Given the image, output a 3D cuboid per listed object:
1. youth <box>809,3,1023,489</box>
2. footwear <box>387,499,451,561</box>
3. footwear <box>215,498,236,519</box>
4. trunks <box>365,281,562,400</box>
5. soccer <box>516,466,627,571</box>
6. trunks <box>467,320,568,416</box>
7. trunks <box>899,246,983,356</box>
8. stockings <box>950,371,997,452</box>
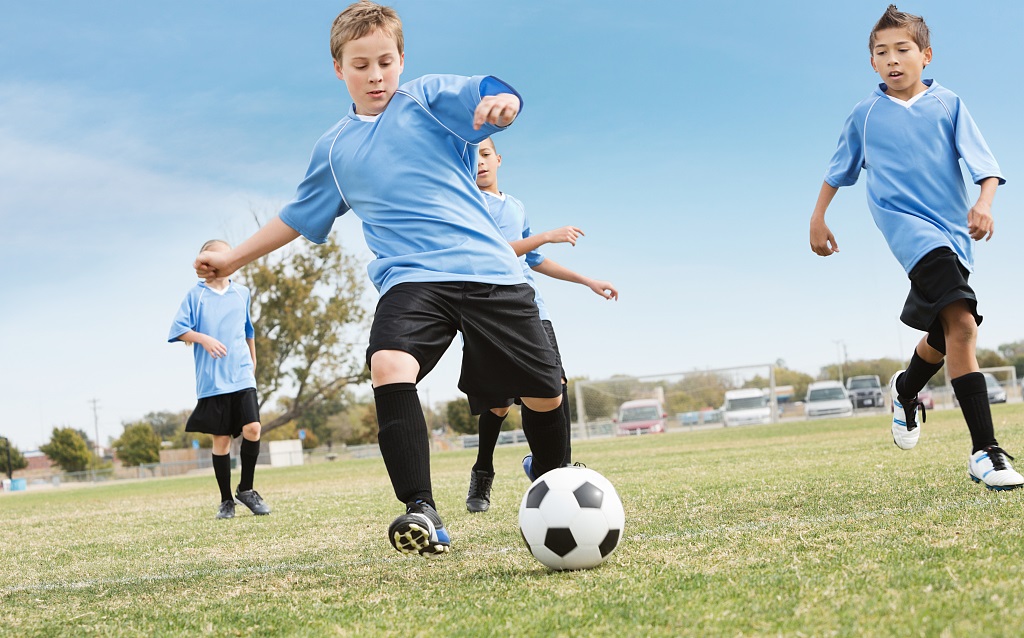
[{"bbox_3d":[2.803,-0.564,5.603,0.551,3.339,1.080,-3,-3,-43],"label":"youth"},{"bbox_3d":[-0.447,1.165,4.369,0.171,0.248,0.453,-33,-47,14],"label":"footwear"},{"bbox_3d":[-2.494,1.659,7.071,0.102,0.108,0.273,-1,-15,-5],"label":"footwear"},{"bbox_3d":[-0.293,0.081,4.703,1.135,0.710,0.431,4,-4,-10],"label":"trunks"},{"bbox_3d":[0.371,1.078,4.574,0.541,0.498,0.546,-1,27,15],"label":"soccer"},{"bbox_3d":[0.020,0.283,4.724,0.506,0.623,0.346,-8,-43,-9],"label":"trunks"},{"bbox_3d":[2.731,-0.158,5.151,0.433,0.518,0.361,36,-48,-26],"label":"trunks"},{"bbox_3d":[3.054,0.605,5.379,0.218,0.545,0.307,-6,-3,27],"label":"stockings"}]
